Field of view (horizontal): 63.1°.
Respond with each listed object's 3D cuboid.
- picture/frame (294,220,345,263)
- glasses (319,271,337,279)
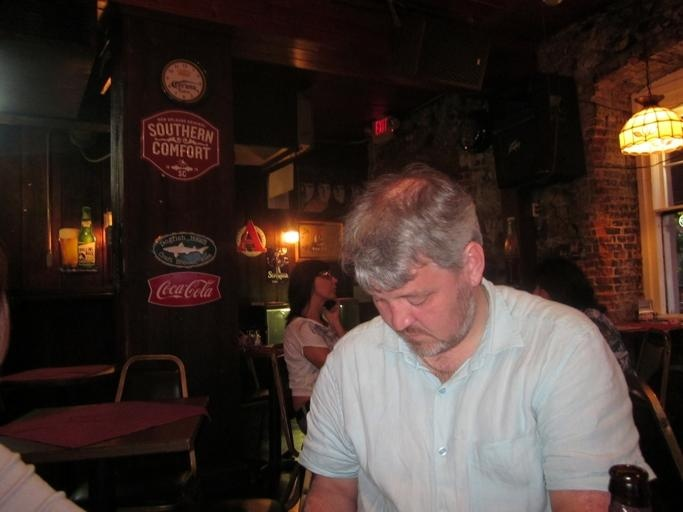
[{"bbox_3d":[-0.357,-0.190,7.763,0.639,0.529,0.049,5,-9,-29],"label":"picture/frame"},{"bbox_3d":[-0.129,0.174,5.089,0.189,0.061,0.185,-4,-5,21],"label":"glasses"}]
